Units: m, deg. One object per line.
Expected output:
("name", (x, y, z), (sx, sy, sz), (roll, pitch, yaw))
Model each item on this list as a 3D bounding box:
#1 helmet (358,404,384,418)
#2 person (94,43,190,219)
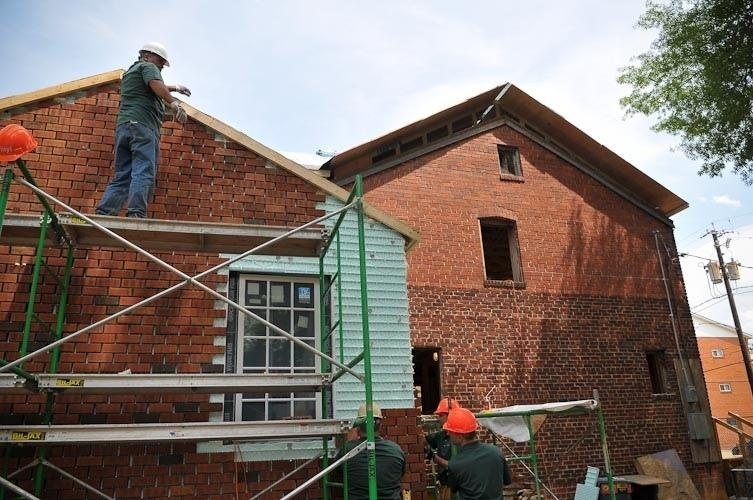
("helmet", (-0.100, 2.349, 9.089), (0.460, 0.236, 0.361), (4, -16, -21))
("person", (-3.569, -1.607, 9.408), (0.803, 2.628, 1.306), (13, -27, -28))
